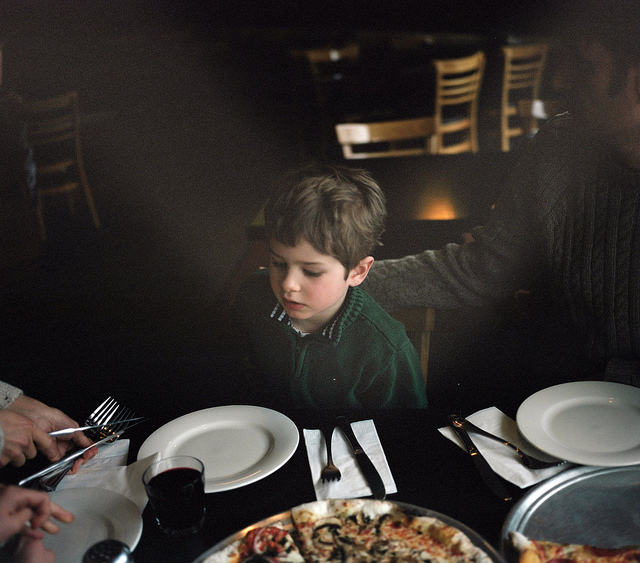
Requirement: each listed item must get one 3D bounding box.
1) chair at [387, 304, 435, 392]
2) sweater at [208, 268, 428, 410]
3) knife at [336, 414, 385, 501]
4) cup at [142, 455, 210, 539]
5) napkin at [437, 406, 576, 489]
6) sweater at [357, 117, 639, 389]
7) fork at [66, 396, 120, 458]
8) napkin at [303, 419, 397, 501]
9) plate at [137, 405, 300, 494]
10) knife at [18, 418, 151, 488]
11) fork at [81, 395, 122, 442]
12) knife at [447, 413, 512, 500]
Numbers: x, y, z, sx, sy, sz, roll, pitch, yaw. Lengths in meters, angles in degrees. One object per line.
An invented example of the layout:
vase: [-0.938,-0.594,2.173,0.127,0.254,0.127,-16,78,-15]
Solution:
chair: [0.214,0.197,1.702,0.144,0.266,0.164,0,-1,-33]
sweater: [0.016,0.150,1.665,0.341,0.301,0.127,8,33,12]
knife: [0.089,0.406,1.409,0.041,0.015,0.283,-17,28,-12]
cup: [-0.292,0.436,1.296,0.139,0.152,0.152,-6,23,2]
napkin: [0.428,0.381,1.366,0.123,0.032,0.220,-19,28,-20]
sweater: [0.485,-0.106,1.576,0.636,0.488,0.251,-1,16,10]
fork: [-0.595,0.376,1.555,0.035,0.030,0.204,26,34,10]
napkin: [0.061,0.403,1.374,0.190,0.275,0.028,-15,34,7]
plate: [-0.235,0.398,1.429,0.384,0.047,0.397,2,16,11]
knife: [-0.574,0.418,1.421,0.285,0.032,0.031,-26,48,-33]
fork: [-0.586,0.364,1.603,0.047,0.024,0.163,30,30,1]
knife: [0.350,0.389,1.318,0.033,0.294,0.014,-29,24,11]
